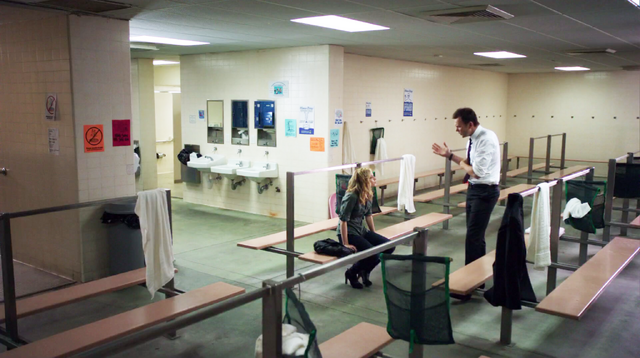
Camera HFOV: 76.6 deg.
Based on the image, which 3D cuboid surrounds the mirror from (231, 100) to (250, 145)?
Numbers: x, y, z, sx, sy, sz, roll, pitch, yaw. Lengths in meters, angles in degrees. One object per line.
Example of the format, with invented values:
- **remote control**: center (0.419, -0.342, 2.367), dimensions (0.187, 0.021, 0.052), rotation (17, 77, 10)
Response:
- **mirror**: center (-2.085, -1.492, 10.634), dimensions (0.589, 1.173, 0.175), rotation (8, 16, 34)

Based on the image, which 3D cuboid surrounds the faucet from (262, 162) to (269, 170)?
- **faucet**: center (-1.368, -0.341, 10.280), dimensions (0.216, 0.171, 0.107), rotation (-5, 5, -14)

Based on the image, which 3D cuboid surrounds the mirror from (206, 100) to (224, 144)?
- **mirror**: center (-2.818, -1.560, 11.001), dimensions (0.574, 1.182, 0.156), rotation (8, 15, 32)

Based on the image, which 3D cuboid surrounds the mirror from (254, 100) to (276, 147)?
- **mirror**: center (-1.360, -1.425, 10.273), dimensions (0.637, 1.166, 0.132), rotation (6, 15, 29)

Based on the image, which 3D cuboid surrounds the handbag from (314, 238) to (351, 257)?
- **handbag**: center (0.201, 1.071, 6.360), dimensions (0.410, 0.133, 0.299), rotation (8, 11, 26)
